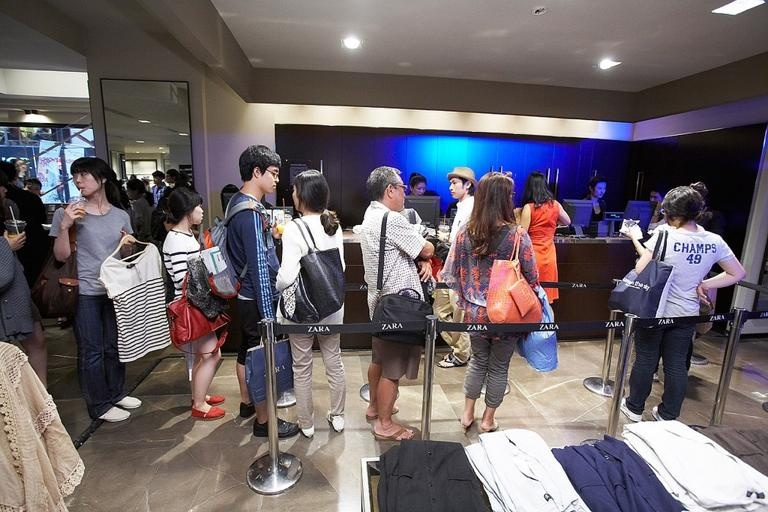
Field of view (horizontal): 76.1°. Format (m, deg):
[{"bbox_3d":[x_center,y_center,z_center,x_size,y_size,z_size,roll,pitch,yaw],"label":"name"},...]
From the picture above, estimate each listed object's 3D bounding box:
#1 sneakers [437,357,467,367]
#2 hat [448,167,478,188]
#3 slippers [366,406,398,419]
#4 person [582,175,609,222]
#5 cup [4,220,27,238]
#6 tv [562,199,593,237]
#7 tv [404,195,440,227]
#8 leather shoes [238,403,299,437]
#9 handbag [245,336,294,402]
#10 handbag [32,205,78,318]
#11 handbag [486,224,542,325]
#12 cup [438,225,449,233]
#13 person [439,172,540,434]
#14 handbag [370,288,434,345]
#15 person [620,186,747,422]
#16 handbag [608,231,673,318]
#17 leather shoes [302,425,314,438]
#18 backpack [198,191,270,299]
[{"bbox_3d":[0.763,1.205,5.611,0.334,0.147,0.115,3,-4,-5],"label":"sneakers"},{"bbox_3d":[0.834,-0.858,5.059,0.249,0.097,0.214,21,-13,-22],"label":"hat"},{"bbox_3d":[-0.016,1.480,4.777,0.297,0.120,0.143,-8,8,-39],"label":"slippers"},{"bbox_3d":[2.938,-0.688,6.968,0.314,0.817,0.292,-12,-18,34],"label":"person"},{"bbox_3d":[-3.192,-0.247,4.240,0.148,0.136,0.148,3,15,-1],"label":"cup"},{"bbox_3d":[2.482,-0.483,6.328,0.416,0.608,0.256,-1,22,5],"label":"tv"},{"bbox_3d":[0.553,-0.573,6.237,0.446,0.451,0.215,4,29,31],"label":"tv"},{"bbox_3d":[-1.082,1.534,4.626,0.647,0.264,0.245,2,4,6],"label":"leather shoes"},{"bbox_3d":[-0.901,0.956,4.156,0.493,0.499,0.187,-20,-15,24],"label":"handbag"},{"bbox_3d":[-2.934,0.152,4.349,0.378,0.857,0.193,-1,11,-19],"label":"handbag"},{"bbox_3d":[1.117,0.168,4.136,0.461,0.777,0.222,-1,11,-20],"label":"handbag"},{"bbox_3d":[0.717,-0.323,5.917,0.085,0.116,0.118,0,4,-2],"label":"cup"},{"bbox_3d":[0.963,0.450,4.528,0.884,2.329,0.707,2,11,9],"label":"person"},{"bbox_3d":[0.190,0.495,4.267,0.480,0.449,0.258,12,-6,-5],"label":"handbag"},{"bbox_3d":[2.751,0.517,4.727,1.084,2.333,0.618,11,18,32],"label":"person"},{"bbox_3d":[2.314,0.145,4.413,0.435,0.771,0.375,12,14,40],"label":"handbag"},{"bbox_3d":[-0.699,1.583,4.487,0.107,0.097,0.110,1,1,1],"label":"leather shoes"},{"bbox_3d":[-1.336,-0.055,4.384,0.747,0.753,0.468,-12,10,-14],"label":"backpack"}]
